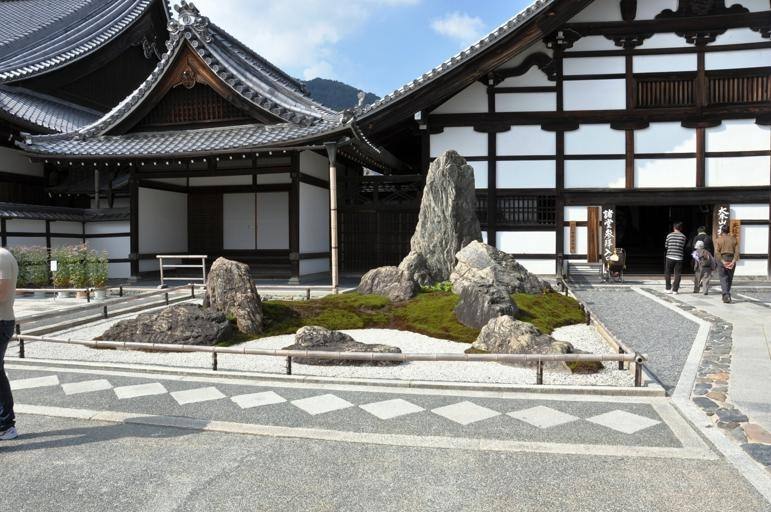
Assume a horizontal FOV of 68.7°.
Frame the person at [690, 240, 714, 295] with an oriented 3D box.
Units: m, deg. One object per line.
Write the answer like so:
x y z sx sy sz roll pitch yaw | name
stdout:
8.971 0.305 15.978 0.548 1.665 0.867 8 17 28 | person

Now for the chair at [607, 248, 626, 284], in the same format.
7.450 0.291 18.414 0.692 1.071 0.828 -2 7 -4 | chair

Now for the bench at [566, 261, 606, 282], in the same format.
6.484 0.478 18.411 1.301 0.614 0.768 0 15 1 | bench

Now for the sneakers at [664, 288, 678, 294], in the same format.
8.133 1.016 16.091 0.154 0.170 0.418 -2 -10 34 | sneakers

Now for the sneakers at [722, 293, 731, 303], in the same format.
8.763 1.085 14.498 0.120 0.139 0.343 0 1 15 | sneakers
